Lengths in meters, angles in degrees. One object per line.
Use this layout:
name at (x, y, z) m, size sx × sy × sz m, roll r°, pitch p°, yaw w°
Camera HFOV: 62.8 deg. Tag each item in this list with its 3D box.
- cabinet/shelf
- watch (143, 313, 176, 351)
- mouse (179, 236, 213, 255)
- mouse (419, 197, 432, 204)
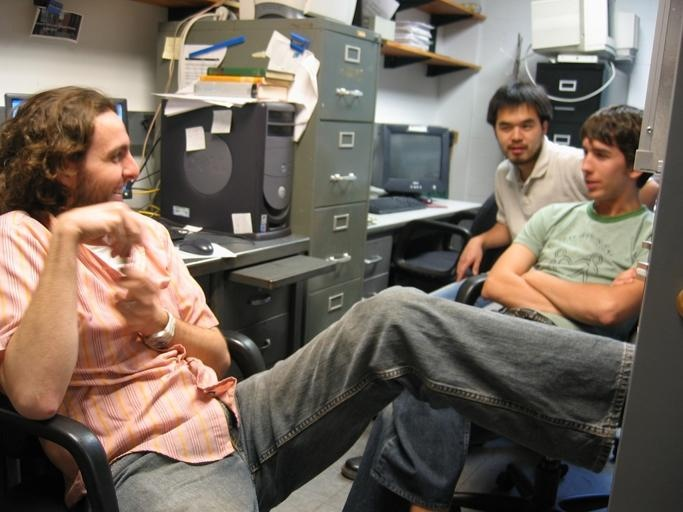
cabinet/shelf at (-0.066, -0.480, 3.586) m, size 1.361 × 2.826 × 1.223 m, roll 7°, pitch 6°, yaw 34°
watch at (-0.411, 0.172, 1.269) m, size 0.060 × 0.052 × 0.081 m, roll 0°, pitch 8°, yaw 0°
mouse at (-0.538, -0.041, 2.066) m, size 0.121 × 0.043 × 0.071 m, roll 10°, pitch 17°, yaw 37°
mouse at (0.577, -0.385, 3.844) m, size 0.065 × 0.040 × 0.036 m, roll 3°, pitch 7°, yaw -8°
